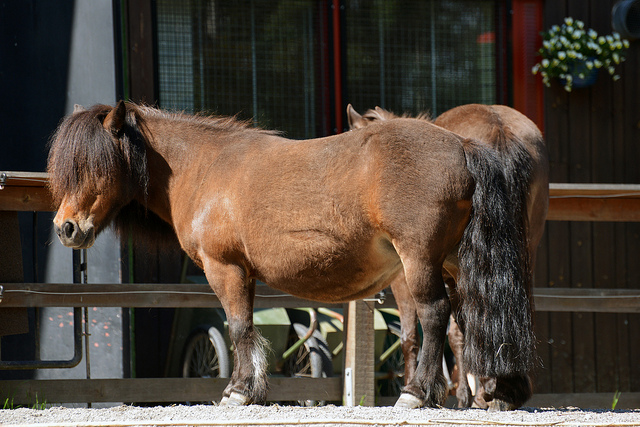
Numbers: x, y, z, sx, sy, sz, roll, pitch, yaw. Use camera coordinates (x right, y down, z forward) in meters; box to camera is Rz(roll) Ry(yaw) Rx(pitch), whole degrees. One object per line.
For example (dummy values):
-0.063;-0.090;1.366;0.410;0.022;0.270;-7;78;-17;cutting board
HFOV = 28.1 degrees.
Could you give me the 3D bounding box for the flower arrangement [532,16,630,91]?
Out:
2.673;-1.689;13.280;0.947;0.759;0.294;-6;-10;13;flower arrangement
